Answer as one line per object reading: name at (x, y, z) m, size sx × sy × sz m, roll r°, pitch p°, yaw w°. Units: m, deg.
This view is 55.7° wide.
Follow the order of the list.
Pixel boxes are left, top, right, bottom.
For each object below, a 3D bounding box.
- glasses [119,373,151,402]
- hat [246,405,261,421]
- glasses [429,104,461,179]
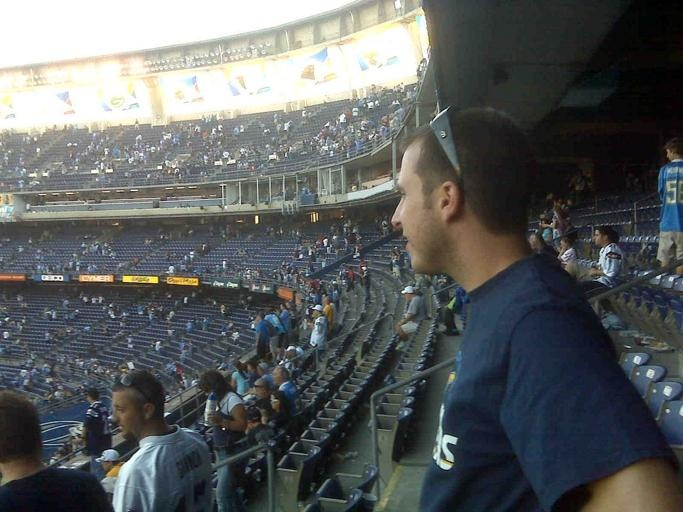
glasses at (-1.054, 0.679, 3.342) m, size 0.136 × 0.041 × 0.129 m, roll 36°, pitch -8°, yaw -18°
hat at (-0.840, 1.518, 6.182) m, size 0.136 × 0.128 × 0.187 m, roll 1°, pitch -2°, yaw -28°
glasses at (0.330, -0.369, 2.078) m, size 0.124 × 0.190 × 0.092 m, roll -3°, pitch -7°, yaw -27°
